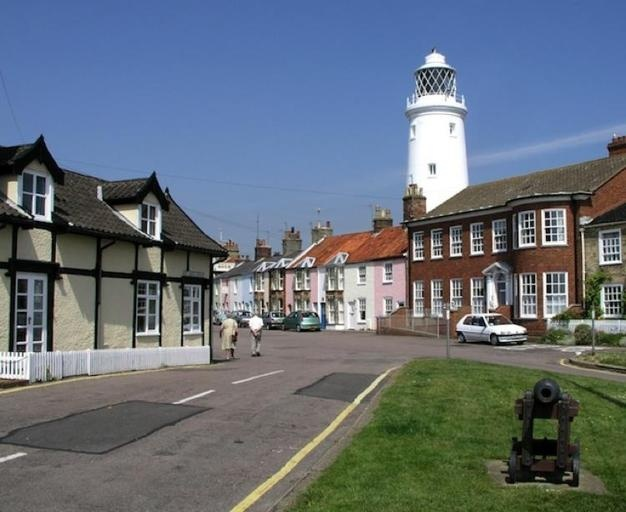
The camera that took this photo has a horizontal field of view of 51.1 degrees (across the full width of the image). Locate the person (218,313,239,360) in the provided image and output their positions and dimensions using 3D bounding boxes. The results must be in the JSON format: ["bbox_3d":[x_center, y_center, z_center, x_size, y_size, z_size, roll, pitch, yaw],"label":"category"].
[{"bbox_3d":[-3.400,3.299,26.549,0.637,1.783,1.488,-2,-7,-9],"label":"person"}]

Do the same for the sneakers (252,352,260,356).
[{"bbox_3d":[-2.391,4.122,27.518,0.241,0.113,0.153,-2,-1,6],"label":"sneakers"}]

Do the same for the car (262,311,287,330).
[{"bbox_3d":[-3.434,5.641,57.115,1.074,1.057,2.058,-1,2,-18],"label":"car"}]

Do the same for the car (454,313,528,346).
[{"bbox_3d":[9.546,3.964,35.441,1.501,1.745,3.675,0,-9,-28],"label":"car"}]

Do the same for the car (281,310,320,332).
[{"bbox_3d":[-1.017,5.344,53.409,1.601,1.721,3.354,3,-10,-39],"label":"car"}]
